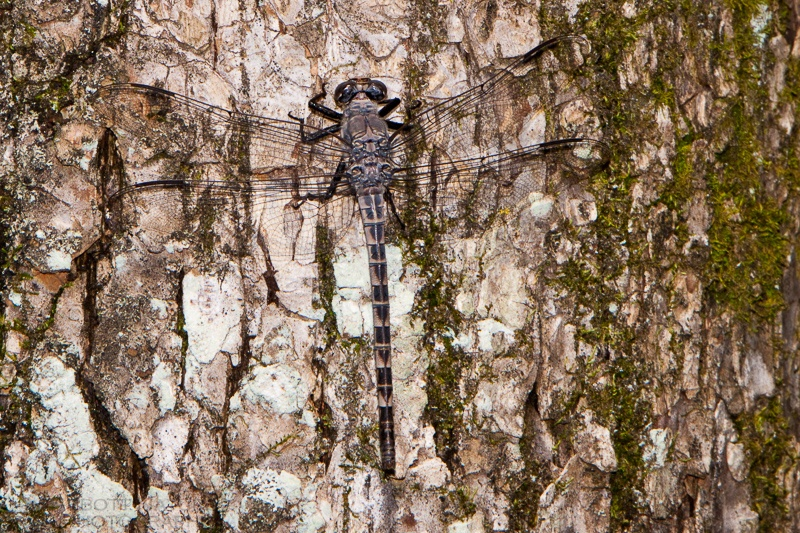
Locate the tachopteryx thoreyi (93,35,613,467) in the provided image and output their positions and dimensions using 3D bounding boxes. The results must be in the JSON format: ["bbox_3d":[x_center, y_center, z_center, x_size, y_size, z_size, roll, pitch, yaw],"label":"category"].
[{"bbox_3d":[-0.465,0.139,13.710,2.854,3.039,0.675,-4,-6,-2],"label":"tachopteryx thoreyi"}]
